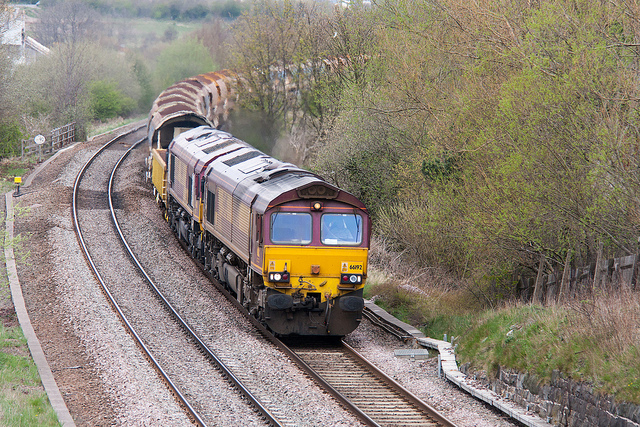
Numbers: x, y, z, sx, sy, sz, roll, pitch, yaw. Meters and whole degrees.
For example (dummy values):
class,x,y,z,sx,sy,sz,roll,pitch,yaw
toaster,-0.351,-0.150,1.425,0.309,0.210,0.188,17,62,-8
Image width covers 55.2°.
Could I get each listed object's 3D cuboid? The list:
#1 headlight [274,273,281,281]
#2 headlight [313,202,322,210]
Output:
class,x,y,z,sx,sy,sz,roll,pitch,yaw
headlight,-1.356,2.007,19.359,0.187,0.229,0.047,0,0,-11
headlight,-0.090,-0.229,19.685,0.262,0.217,0.079,1,8,-2
